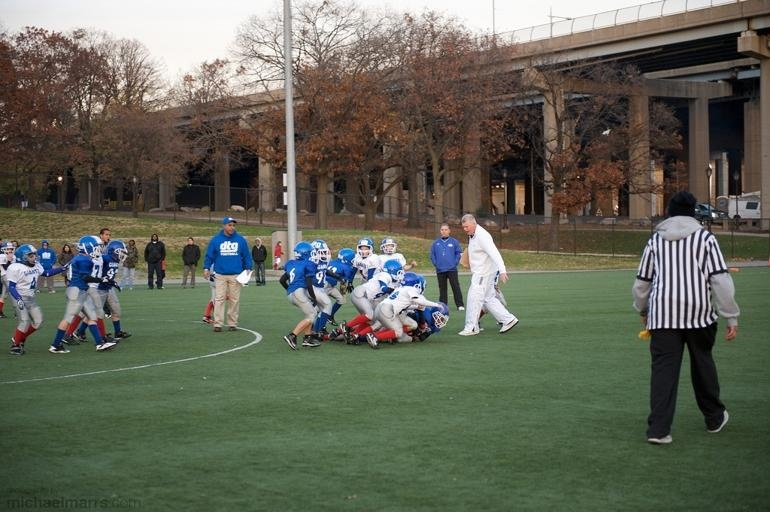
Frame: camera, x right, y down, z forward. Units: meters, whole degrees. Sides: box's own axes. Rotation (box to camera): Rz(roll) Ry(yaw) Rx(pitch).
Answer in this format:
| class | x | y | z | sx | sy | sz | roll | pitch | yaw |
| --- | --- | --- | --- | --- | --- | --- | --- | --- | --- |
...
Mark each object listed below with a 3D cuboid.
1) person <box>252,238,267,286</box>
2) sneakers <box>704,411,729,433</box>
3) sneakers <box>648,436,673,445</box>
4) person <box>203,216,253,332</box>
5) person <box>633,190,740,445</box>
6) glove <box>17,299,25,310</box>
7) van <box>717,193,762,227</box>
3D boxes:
| class | x | y | z | sx | sy | sz | roll | pitch | yaw |
| --- | --- | --- | --- | --- | --- | --- | --- | --- | --- |
| person | -5.190 | 0.228 | 31.623 | 0.507 | 1.675 | 1.592 | -1 | 0 | -10 |
| sneakers | 4.524 | 2.232 | 10.400 | 0.172 | 0.182 | 0.520 | -9 | 2 | 43 |
| sneakers | 3.547 | 2.385 | 9.934 | 0.330 | 0.126 | 0.110 | 4 | -2 | -6 |
| person | -3.681 | 0.402 | 17.877 | 1.222 | 2.457 | 0.906 | 0 | -1 | -25 |
| person | 3.886 | 0.794 | 10.048 | 1.219 | 3.281 | 0.580 | -1 | 0 | 10 |
| glove | -7.293 | 0.981 | 15.480 | 0.173 | 0.173 | 0.075 | 3 | -10 | 11 |
| van | 27.960 | -3.565 | 60.229 | 3.869 | 1.896 | 2.561 | -3 | 4 | 18 |
